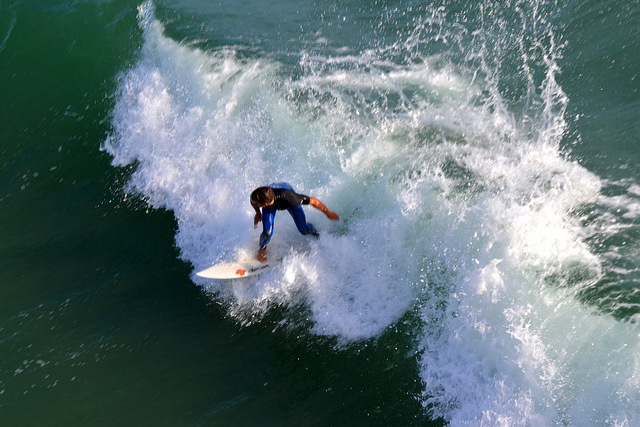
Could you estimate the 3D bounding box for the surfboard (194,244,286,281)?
[{"bbox_3d":[-1.665,1.066,16.734,1.987,0.299,0.396,-13,75,5],"label":"surfboard"}]
